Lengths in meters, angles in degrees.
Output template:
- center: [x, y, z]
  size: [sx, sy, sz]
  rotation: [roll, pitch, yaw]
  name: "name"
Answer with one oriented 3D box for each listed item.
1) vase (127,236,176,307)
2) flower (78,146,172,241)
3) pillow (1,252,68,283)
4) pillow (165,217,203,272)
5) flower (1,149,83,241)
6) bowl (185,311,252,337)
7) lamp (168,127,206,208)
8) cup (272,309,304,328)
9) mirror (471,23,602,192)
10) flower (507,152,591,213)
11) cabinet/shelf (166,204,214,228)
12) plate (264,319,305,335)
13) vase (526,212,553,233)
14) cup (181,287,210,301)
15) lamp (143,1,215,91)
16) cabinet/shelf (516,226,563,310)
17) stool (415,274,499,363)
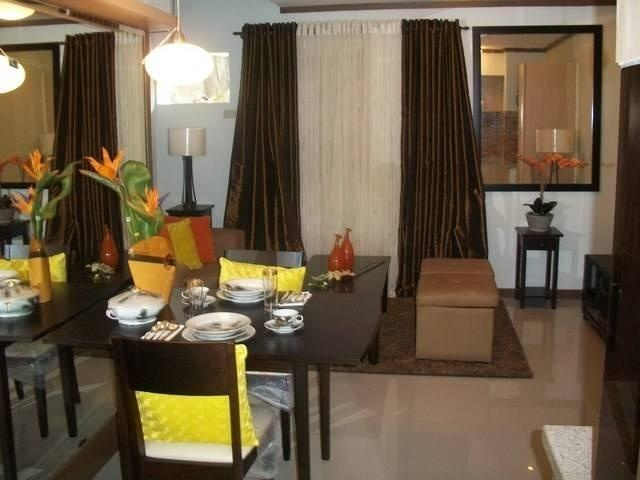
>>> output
- center: [-0.823, 0.096, 2.696]
  size: [0.248, 0.373, 0.279]
  rotation: [5, 25, -10]
  name: "vase"
- center: [-0.937, -0.156, 2.677]
  size: [0.262, 0.625, 0.368]
  rotation: [-2, 35, 3]
  name: "flower"
- center: [-1.616, 0.155, 3.012]
  size: [0.259, 0.245, 0.199]
  rotation: [8, 5, 27]
  name: "pillow"
- center: [-1.219, 0.037, 4.693]
  size: [0.105, 0.391, 0.228]
  rotation: [-10, 12, -39]
  name: "pillow"
- center: [-1.670, -0.267, 3.141]
  size: [0.513, 0.612, 0.418]
  rotation: [4, 8, 13]
  name: "flower"
- center: [-0.463, 0.371, 2.354]
  size: [0.138, 0.034, 0.139]
  rotation: [0, 14, 0]
  name: "bowl"
- center: [-1.356, -0.739, 5.423]
  size: [0.362, 0.805, 0.517]
  rotation: [-4, 13, -17]
  name: "lamp"
- center: [-0.152, 0.338, 2.340]
  size: [0.091, 0.045, 0.081]
  rotation: [4, 11, 9]
  name: "cup"
- center: [2.188, -1.394, 5.282]
  size: [1.540, 2.194, 0.075]
  rotation: [0, 3, 2]
  name: "mirror"
- center: [2.271, -0.515, 5.309]
  size: [0.589, 0.690, 0.765]
  rotation: [7, 8, 15]
  name: "flower"
- center: [-1.327, -0.301, 5.368]
  size: [0.310, 0.330, 0.317]
  rotation: [3, 15, 8]
  name: "cabinet/shelf"
- center: [-0.169, 0.375, 2.358]
  size: [0.178, 0.039, 0.147]
  rotation: [3, 13, 14]
  name: "plate"
- center: [2.092, -0.171, 5.045]
  size: [0.183, 0.124, 0.192]
  rotation: [0, 3, 2]
  name: "vase"
- center: [-0.613, 0.264, 2.591]
  size: [0.110, 0.051, 0.081]
  rotation: [-2, 5, 12]
  name: "cup"
- center: [-0.931, -1.254, 3.302]
  size: [0.338, 0.612, 1.498]
  rotation: [-4, 13, -17]
  name: "lamp"
- center: [2.137, 0.259, 5.227]
  size: [0.439, 0.776, 0.599]
  rotation: [5, 13, 22]
  name: "cabinet/shelf"
- center: [1.059, 0.580, 4.221]
  size: [0.666, 0.532, 0.887]
  rotation: [2, 8, 23]
  name: "stool"
